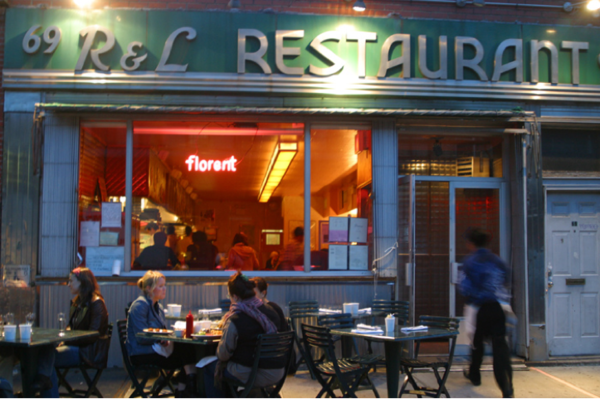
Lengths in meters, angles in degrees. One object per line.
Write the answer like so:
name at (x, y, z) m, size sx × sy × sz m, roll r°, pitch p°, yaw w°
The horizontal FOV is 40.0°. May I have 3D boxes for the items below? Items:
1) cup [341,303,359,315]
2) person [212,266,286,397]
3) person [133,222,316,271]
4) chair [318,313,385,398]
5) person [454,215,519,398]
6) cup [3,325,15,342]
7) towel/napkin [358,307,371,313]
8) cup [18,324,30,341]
cup at (0.870, 1.871, 14.074) m, size 0.220 × 0.130 × 0.168 m, roll 3°, pitch -5°, yaw -22°
person at (-0.786, 1.994, 12.168) m, size 1.067 × 1.820 × 0.398 m, roll -3°, pitch -3°, yaw -7°
person at (-1.185, 0.963, 14.928) m, size 3.283 × 0.791 × 0.250 m, roll -3°, pitch -3°, yaw -9°
chair at (0.961, 2.544, 13.907) m, size 1.181 × 1.453 × 1.247 m, roll 1°, pitch -5°, yaw -29°
person at (3.014, 1.851, 13.331) m, size 0.730 × 2.698 × 0.474 m, roll -4°, pitch -3°, yaw 10°
cup at (-4.318, 1.990, 12.246) m, size 0.154 × 0.237 × 0.200 m, roll -2°, pitch -3°, yaw -25°
towel/napkin at (1.132, 1.941, 14.347) m, size 0.223 × 0.054 × 0.637 m, roll -4°, pitch -3°, yaw 5°
cup at (-4.119, 2.009, 12.389) m, size 0.229 × 0.230 × 0.218 m, roll 1°, pitch -7°, yaw 0°
